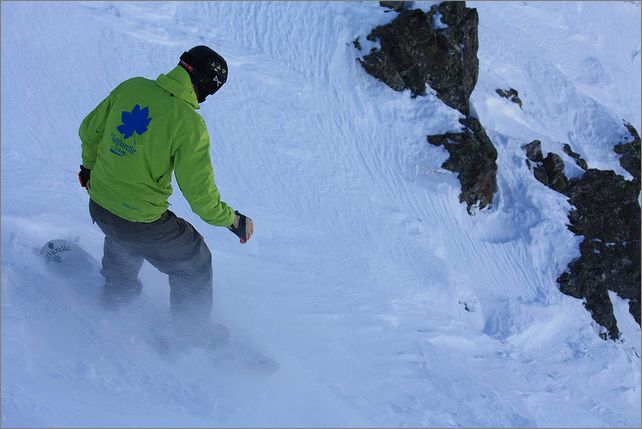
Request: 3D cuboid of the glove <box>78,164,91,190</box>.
[{"bbox_3d":[-6.703,-1.122,29.613,0.428,0.253,0.668,5,92,-16],"label":"glove"}]
